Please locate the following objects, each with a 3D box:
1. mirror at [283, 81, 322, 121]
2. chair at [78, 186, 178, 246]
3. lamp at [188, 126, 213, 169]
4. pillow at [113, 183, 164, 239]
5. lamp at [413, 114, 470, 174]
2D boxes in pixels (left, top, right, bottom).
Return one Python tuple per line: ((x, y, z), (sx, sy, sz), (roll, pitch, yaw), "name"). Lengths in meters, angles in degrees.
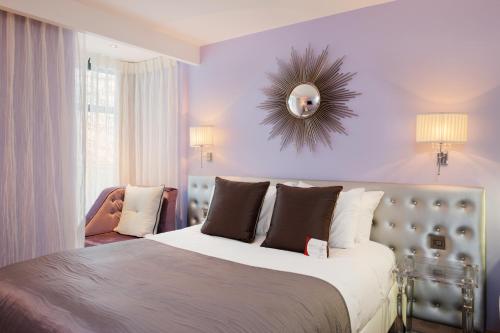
((0.615, -0.744, 3.760), (0.468, 0.465, 0.060), (4, 5, 35), "mirror")
((-1.499, 0.679, 4.194), (1.040, 0.768, 0.972), (5, 12, 14), "chair")
((-0.647, -0.262, 4.489), (0.317, 0.578, 0.233), (4, 12, 13), "lamp")
((-1.385, 0.539, 4.152), (0.710, 0.611, 0.406), (2, 5, 38), "pillow")
((1.842, -0.223, 3.182), (0.407, 0.534, 0.344), (2, 2, 6), "lamp")
